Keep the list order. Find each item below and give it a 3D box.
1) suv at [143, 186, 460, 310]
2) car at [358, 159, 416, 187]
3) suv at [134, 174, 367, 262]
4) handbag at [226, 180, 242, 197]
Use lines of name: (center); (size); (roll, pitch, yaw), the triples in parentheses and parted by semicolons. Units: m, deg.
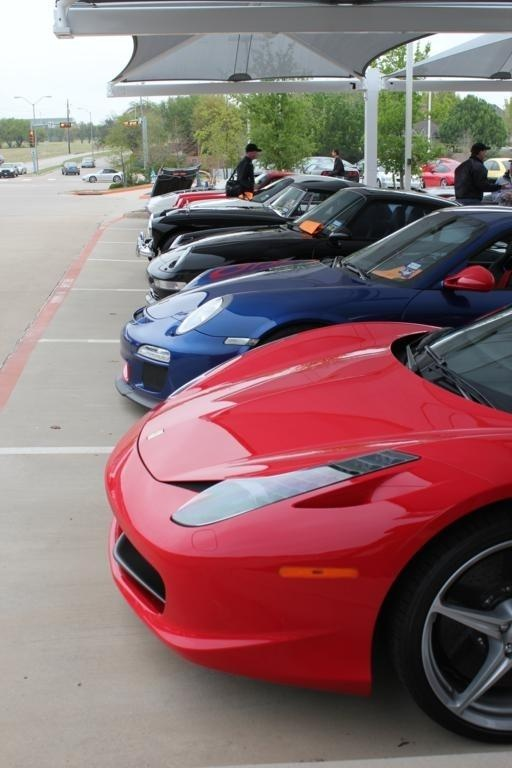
suv: (0.417, -1.513, 6.176); (3.250, 1.051, 1.329); (-6, 12, -5)
car: (6.489, -10.168, 29.240); (2.864, 1.359, 7.451); (-1, 18, 9)
suv: (-0.127, -2.110, 8.358); (3.039, 1.007, 1.328); (-4, 18, -2)
handbag: (-0.427, -3.795, 11.673); (0.172, 0.313, 0.223); (-12, 38, -24)
